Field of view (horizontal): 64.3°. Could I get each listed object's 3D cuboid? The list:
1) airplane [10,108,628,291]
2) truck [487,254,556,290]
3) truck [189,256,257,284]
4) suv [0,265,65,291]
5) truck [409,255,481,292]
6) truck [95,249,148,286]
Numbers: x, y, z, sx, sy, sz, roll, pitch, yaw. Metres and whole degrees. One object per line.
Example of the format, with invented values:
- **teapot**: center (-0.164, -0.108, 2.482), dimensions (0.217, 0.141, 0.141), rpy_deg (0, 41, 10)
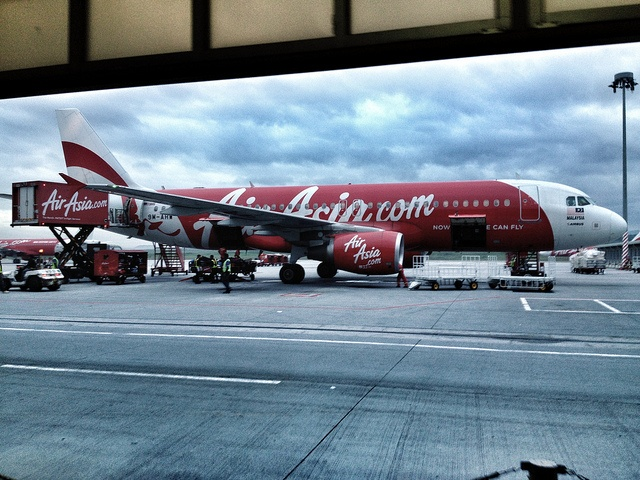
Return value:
- **airplane**: center (1.015, -1.009, 22.993), dimensions (16.493, 4.352, 15.037), rpy_deg (-1, 3, 11)
- **truck**: center (8.568, 1.237, 21.317), dimensions (2.494, 1.310, 2.382), rpy_deg (0, 7, 23)
- **truck**: center (-5.132, 1.596, 27.231), dimensions (3.130, 1.199, 1.516), rpy_deg (0, -1, -9)
- **suv**: center (-12.588, 1.730, 22.633), dimensions (2.267, 0.738, 1.147), rpy_deg (3, 1, 21)
- **truck**: center (5.660, 1.269, 20.825), dimensions (2.428, 0.949, 1.230), rpy_deg (-4, 15, 8)
- **truck**: center (-10.583, 1.320, 27.218), dimensions (1.362, 1.395, 2.575), rpy_deg (-1, -3, 15)
